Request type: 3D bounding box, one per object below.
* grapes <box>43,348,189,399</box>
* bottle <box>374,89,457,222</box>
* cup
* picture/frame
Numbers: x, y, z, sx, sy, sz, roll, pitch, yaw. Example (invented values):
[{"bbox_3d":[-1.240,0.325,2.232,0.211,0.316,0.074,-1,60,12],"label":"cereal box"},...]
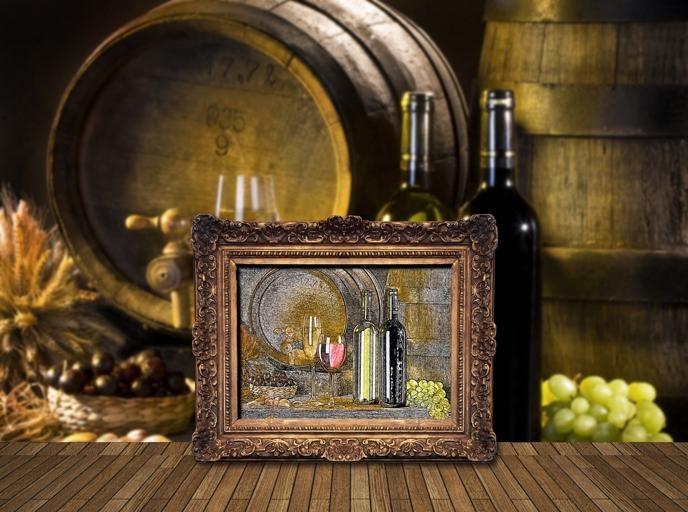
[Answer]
[{"bbox_3d":[-0.504,0.272,2.266,0.281,0.097,0.082,-1,14,-3],"label":"grapes"},{"bbox_3d":[0.155,-0.211,2.103,0.159,0.264,0.093,2,13,10],"label":"bottle"},{"bbox_3d":[-0.225,-0.099,2.189,0.118,0.139,0.127,1,-25,0],"label":"cup"},{"bbox_3d":[0.004,0.174,2.030,0.409,0.428,0.029,0,-1,5],"label":"picture/frame"}]
